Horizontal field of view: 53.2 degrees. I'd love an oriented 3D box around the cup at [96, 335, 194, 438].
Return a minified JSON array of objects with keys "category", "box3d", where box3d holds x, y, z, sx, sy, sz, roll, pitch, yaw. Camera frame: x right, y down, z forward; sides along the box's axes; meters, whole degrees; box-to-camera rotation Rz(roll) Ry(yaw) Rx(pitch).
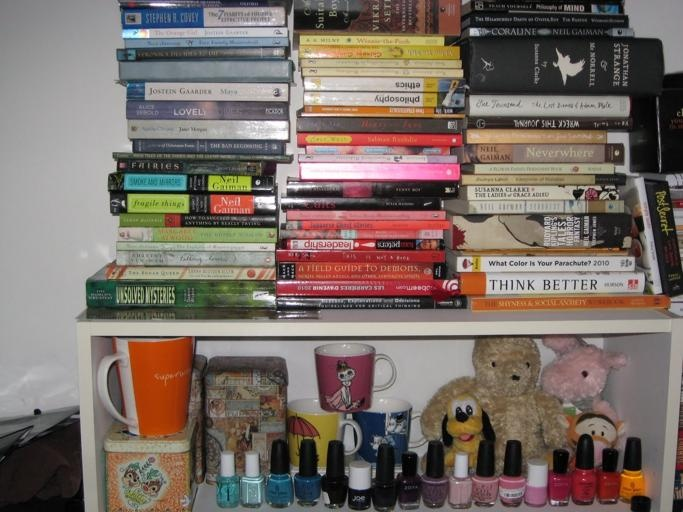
[{"category":"cup","box3d":[-0.364,0.237,1.227,0.118,0.175,0.182,-1,2,28]}]
